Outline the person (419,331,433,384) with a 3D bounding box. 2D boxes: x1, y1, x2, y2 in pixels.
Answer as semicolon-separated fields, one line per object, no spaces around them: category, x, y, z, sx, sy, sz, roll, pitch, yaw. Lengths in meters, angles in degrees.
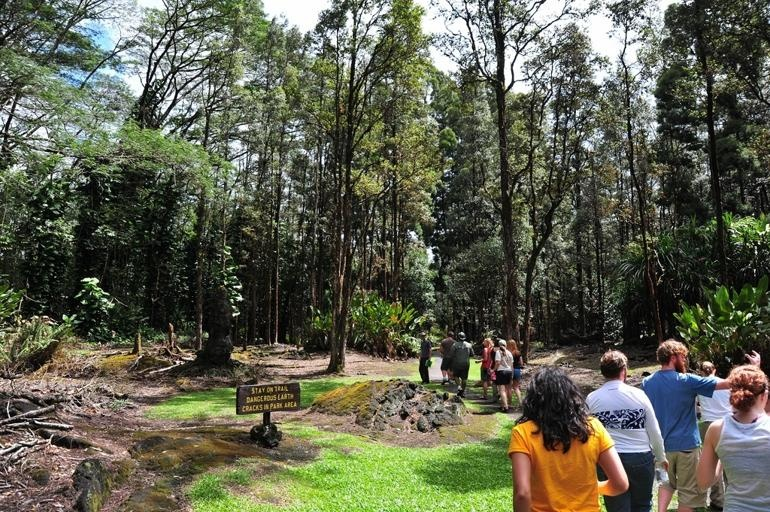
person;1.694;4.284;23.873;0.475;1.782;1.337;5;2;5
